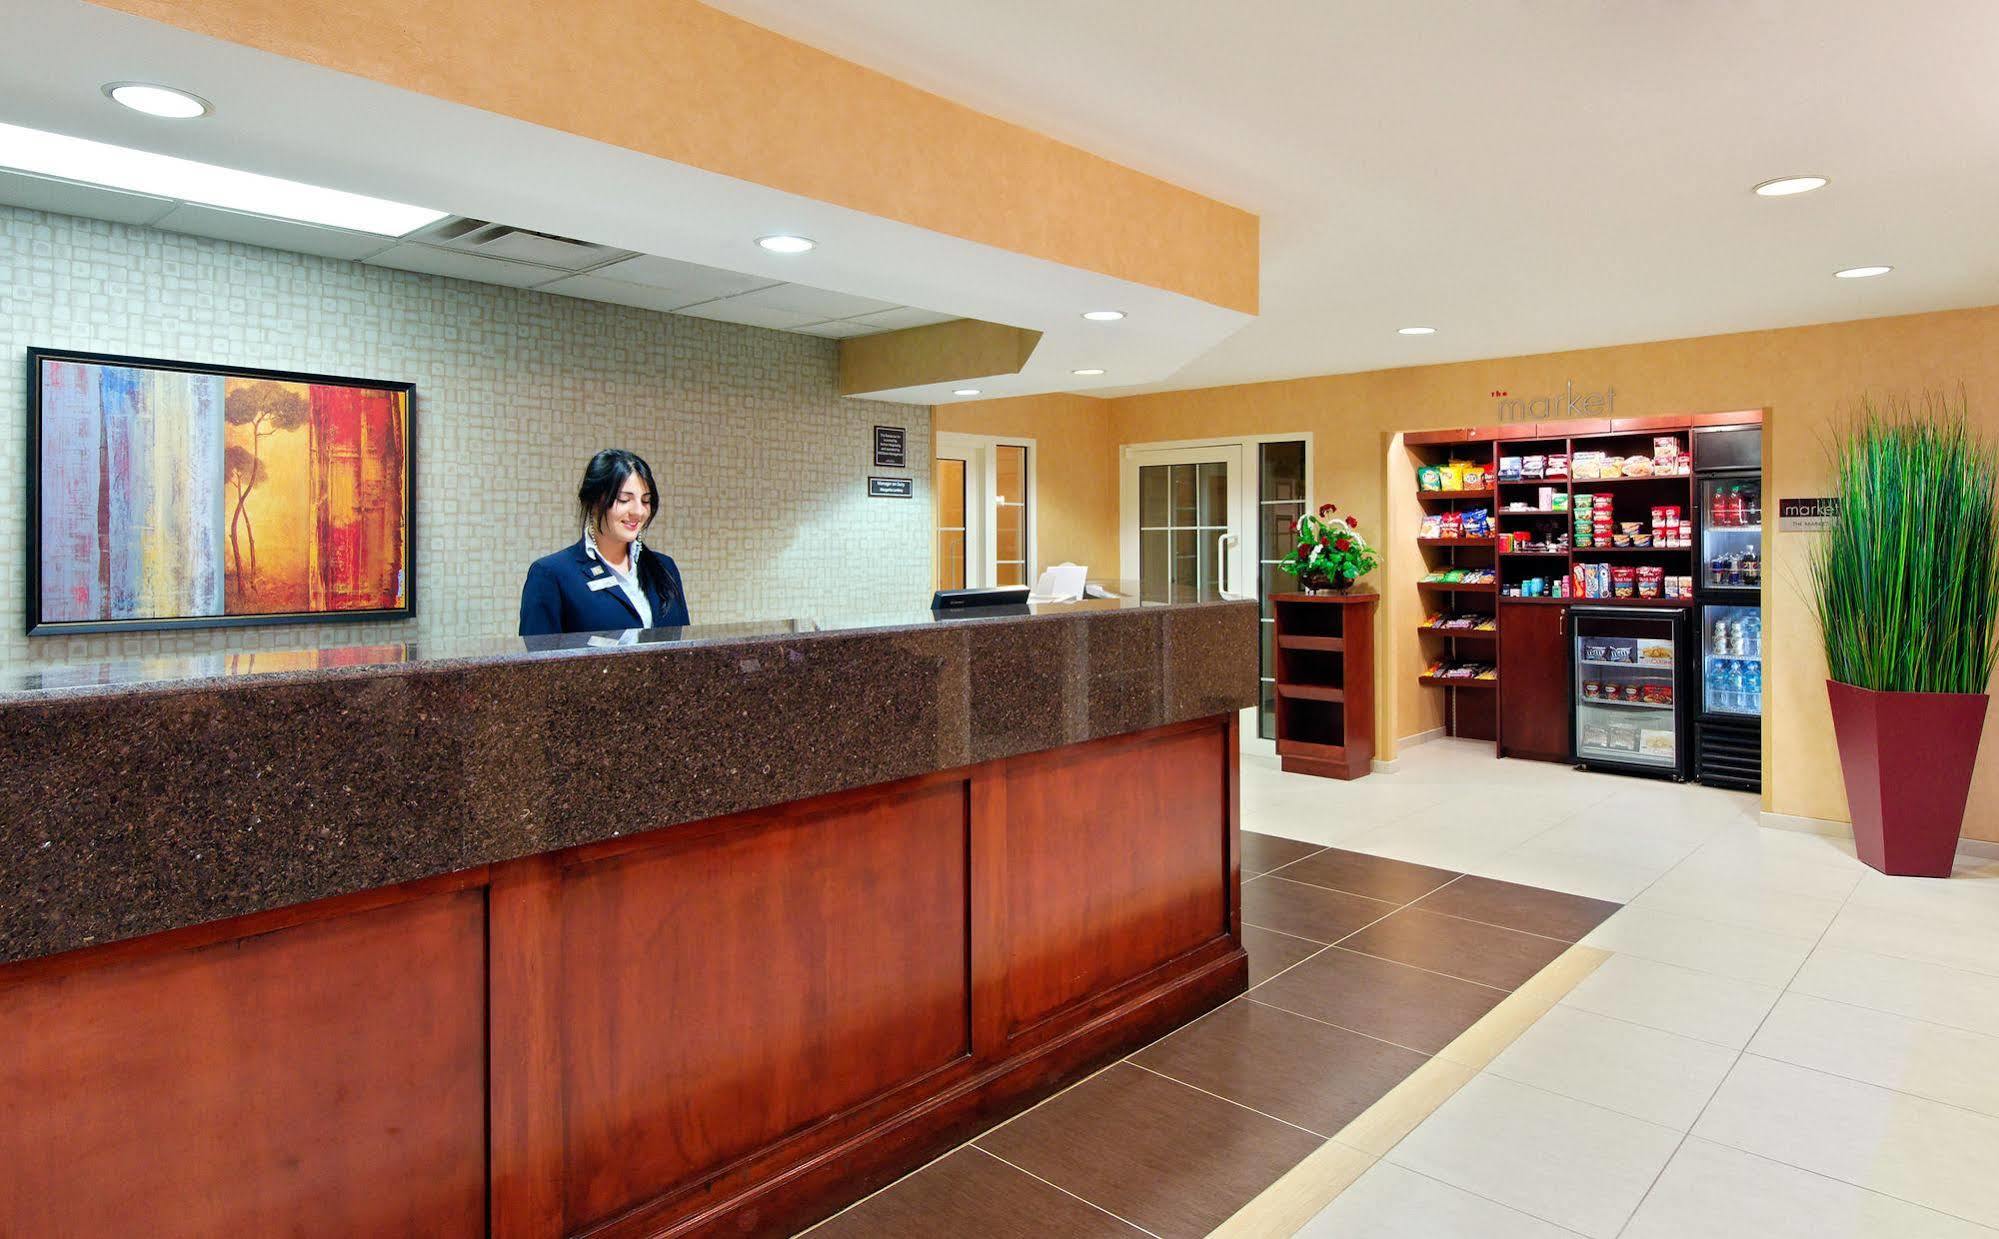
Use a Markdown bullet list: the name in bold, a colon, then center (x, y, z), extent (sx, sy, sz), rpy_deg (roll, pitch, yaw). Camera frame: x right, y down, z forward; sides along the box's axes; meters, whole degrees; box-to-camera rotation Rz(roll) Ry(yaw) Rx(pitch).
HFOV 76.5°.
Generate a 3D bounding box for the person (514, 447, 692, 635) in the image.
- **person**: center (-1.506, -0.286, 4.757), extent (0.577, 0.677, 0.326), rpy_deg (-9, 16, -33)

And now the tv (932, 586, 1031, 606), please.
- **tv**: center (-0.049, -0.089, 4.878), extent (0.422, 0.061, 0.157), rpy_deg (-9, 15, -34)

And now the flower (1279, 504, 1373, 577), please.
- **flower**: center (2.257, -0.472, 8.758), extent (0.595, 0.527, 0.573), rpy_deg (1, -9, 13)

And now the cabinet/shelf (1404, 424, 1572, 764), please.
- **cabinet/shelf**: center (3.695, -0.194, 9.425), extent (0.606, 2.401, 1.324), rpy_deg (-13, 18, -40)

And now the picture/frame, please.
- **picture/frame**: center (-3.331, -0.536, 5.303), extent (1.454, 1.012, 0.056), rpy_deg (0, 5, -36)

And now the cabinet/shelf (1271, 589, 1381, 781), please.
- **cabinet/shelf**: center (2.236, 0.419, 8.745), extent (0.675, 1.288, 0.509), rpy_deg (7, 16, 30)

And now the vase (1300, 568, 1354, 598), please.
- **vase**: center (2.229, -0.258, 8.592), extent (0.243, 0.144, 0.238), rpy_deg (3, 1, 22)
